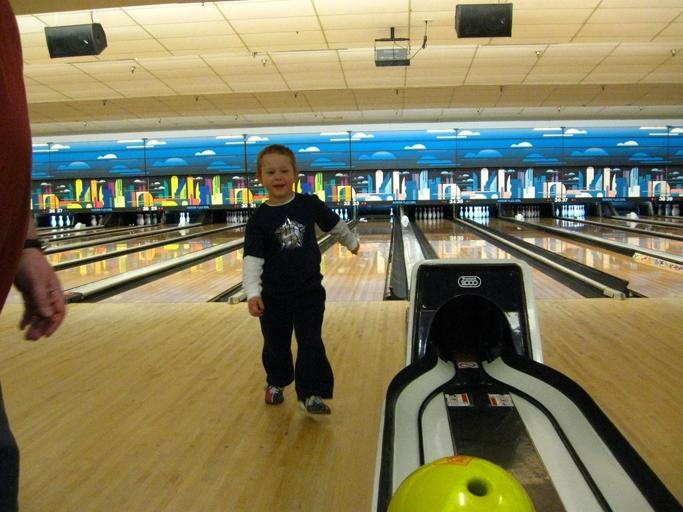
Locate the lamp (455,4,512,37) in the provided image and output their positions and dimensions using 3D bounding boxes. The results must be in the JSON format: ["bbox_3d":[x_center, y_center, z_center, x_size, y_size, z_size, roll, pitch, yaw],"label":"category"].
[{"bbox_3d":[1.315,-2.176,4.147,0.540,0.293,0.264,1,-9,-2],"label":"lamp"}]

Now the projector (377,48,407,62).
[{"bbox_3d":[0.539,-2.204,4.920,0.331,0.146,0.114,0,10,8],"label":"projector"}]

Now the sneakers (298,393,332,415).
[{"bbox_3d":[-0.089,0.549,1.669,0.062,0.047,0.128,2,-5,-24],"label":"sneakers"}]

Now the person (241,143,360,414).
[{"bbox_3d":[-0.157,0.157,1.781,0.425,0.867,0.391,-1,10,4],"label":"person"}]

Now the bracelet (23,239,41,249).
[{"bbox_3d":[-0.521,-0.021,0.755,0.022,0.015,0.021,-4,-5,-7],"label":"bracelet"}]
